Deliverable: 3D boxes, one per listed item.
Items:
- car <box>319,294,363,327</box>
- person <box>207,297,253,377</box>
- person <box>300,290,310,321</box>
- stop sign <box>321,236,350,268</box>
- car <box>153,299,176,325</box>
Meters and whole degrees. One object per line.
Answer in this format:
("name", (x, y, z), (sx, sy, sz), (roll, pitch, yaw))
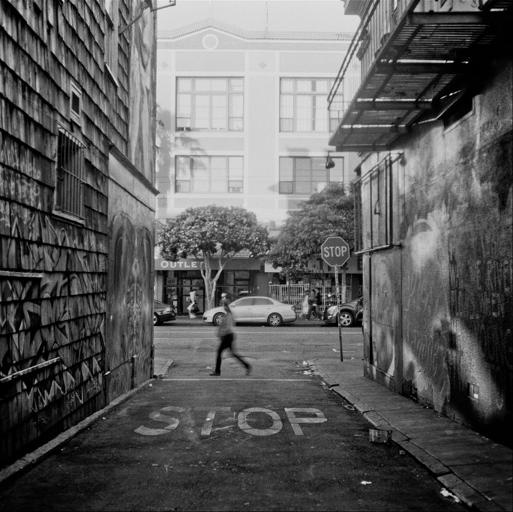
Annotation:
("car", (3.921, 2.448, 26.144), (1.477, 1.150, 1.086), (2, -5, 2))
("person", (-0.563, 1.648, 12.679), (0.770, 2.020, 0.519), (-2, 14, -7))
("person", (2.566, 2.562, 30.679), (0.437, 1.414, 1.537), (0, -1, 5))
("stop sign", (2.014, -0.141, 14.962), (0.761, 0.754, 0.558), (1, -1, -40))
("car", (-4.516, 2.539, 26.368), (1.671, 0.881, 0.910), (3, -4, -4))
